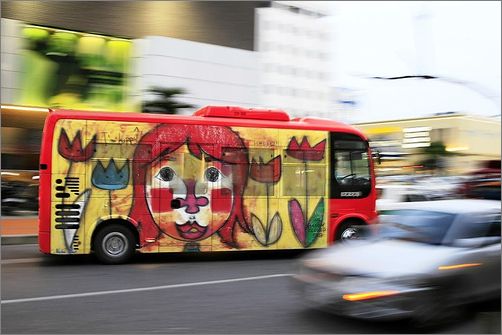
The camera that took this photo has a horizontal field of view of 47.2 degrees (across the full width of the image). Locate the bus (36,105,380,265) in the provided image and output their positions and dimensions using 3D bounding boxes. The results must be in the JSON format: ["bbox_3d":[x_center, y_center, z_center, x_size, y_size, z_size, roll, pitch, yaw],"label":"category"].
[{"bbox_3d":[-1.337,0.422,16.104,10.440,3.596,3.103,1,-1,-30],"label":"bus"}]
